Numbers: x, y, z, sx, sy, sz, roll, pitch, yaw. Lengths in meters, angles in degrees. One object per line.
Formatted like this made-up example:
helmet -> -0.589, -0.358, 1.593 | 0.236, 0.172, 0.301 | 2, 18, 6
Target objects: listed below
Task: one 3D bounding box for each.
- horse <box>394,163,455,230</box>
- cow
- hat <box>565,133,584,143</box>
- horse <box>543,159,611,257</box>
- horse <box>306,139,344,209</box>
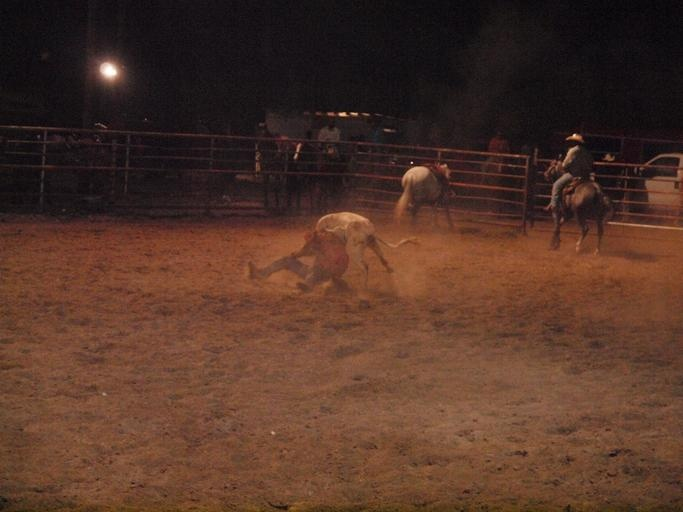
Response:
horse -> 1.835, -1.307, 14.834 | 0.651, 1.295, 2.246 | 1, 6, 34
cow -> 0.225, -0.132, 8.898 | 1.556, 0.799, 0.512 | 11, 22, 34
hat -> 4.022, -2.000, 12.101 | 0.266, 0.157, 0.508 | 7, 7, 14
horse -> 4.019, -0.746, 12.358 | 0.540, 1.326, 1.936 | -1, 4, -21
horse -> -0.374, -1.899, 16.624 | 0.900, 1.564, 2.625 | 5, 7, -1
